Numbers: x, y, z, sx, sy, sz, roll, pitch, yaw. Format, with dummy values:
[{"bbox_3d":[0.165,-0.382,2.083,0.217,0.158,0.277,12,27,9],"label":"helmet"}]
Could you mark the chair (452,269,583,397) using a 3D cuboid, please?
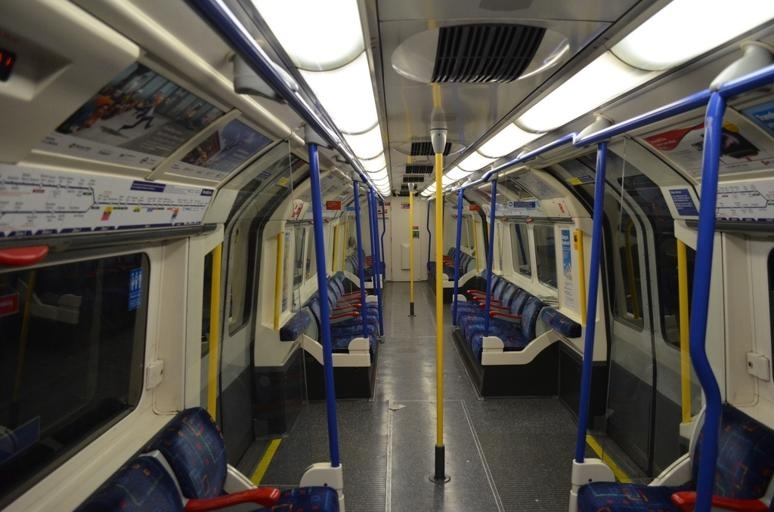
[{"bbox_3d":[1.791,1.191,7.296,1.165,1.297,2.865,-1,13,0],"label":"chair"}]
